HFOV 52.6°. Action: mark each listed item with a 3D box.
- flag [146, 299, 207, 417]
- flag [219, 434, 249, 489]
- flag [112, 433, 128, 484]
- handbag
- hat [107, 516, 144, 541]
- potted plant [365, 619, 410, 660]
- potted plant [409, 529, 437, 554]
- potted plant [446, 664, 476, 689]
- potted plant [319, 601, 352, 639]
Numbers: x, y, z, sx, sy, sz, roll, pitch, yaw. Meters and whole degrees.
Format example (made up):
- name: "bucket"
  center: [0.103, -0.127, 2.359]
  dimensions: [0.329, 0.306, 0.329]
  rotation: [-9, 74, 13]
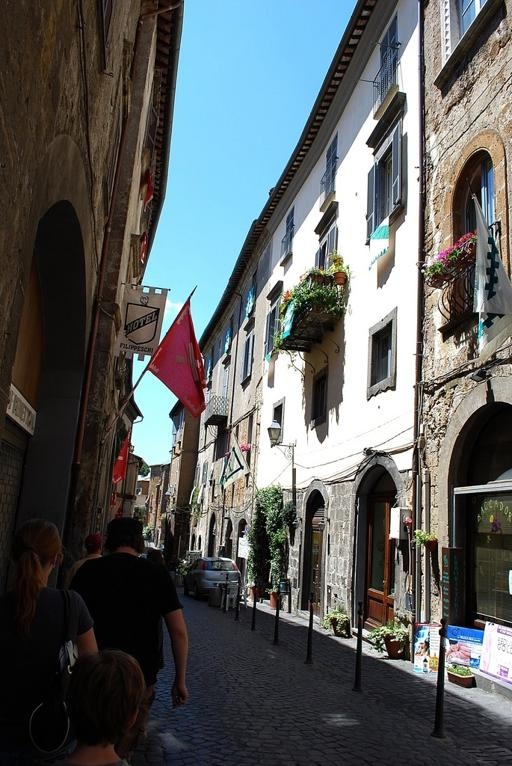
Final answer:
- name: "flag"
  center: [-1.423, -0.499, 9.221]
  dimensions: [0.915, 2.731, 0.222]
  rotation: [25, -27, -34]
- name: "flag"
  center: [-0.792, 2.673, 18.368]
  dimensions: [1.537, 2.308, 0.071]
  rotation: [-32, -47, 25]
- name: "flag"
  center: [-5.609, 3.065, 21.436]
  dimensions: [0.325, 2.580, 0.199]
  rotation: [-1, -40, -6]
- name: "handbag"
  center: [-0.624, 0.883, 1.613]
  dimensions: [0.119, 0.402, 0.444]
  rotation: [9, -17, -20]
- name: "hat"
  center: [-0.778, 0.864, 3.089]
  dimensions: [0.127, 0.145, 0.173]
  rotation: [2, -5, -3]
- name: "potted plant"
  center: [2.377, 4.537, 9.122]
  dimensions: [0.403, 0.455, 0.578]
  rotation: [7, -30, -2]
- name: "potted plant"
  center: [2.809, 2.618, 8.567]
  dimensions: [0.202, 0.331, 0.566]
  rotation: [9, -19, -11]
- name: "potted plant"
  center: [2.822, 4.013, 7.090]
  dimensions: [0.410, 0.249, 0.250]
  rotation: [-6, -22, 38]
- name: "potted plant"
  center: [1.834, 5.159, 11.284]
  dimensions: [0.429, 0.485, 0.475]
  rotation: [2, -8, 39]
